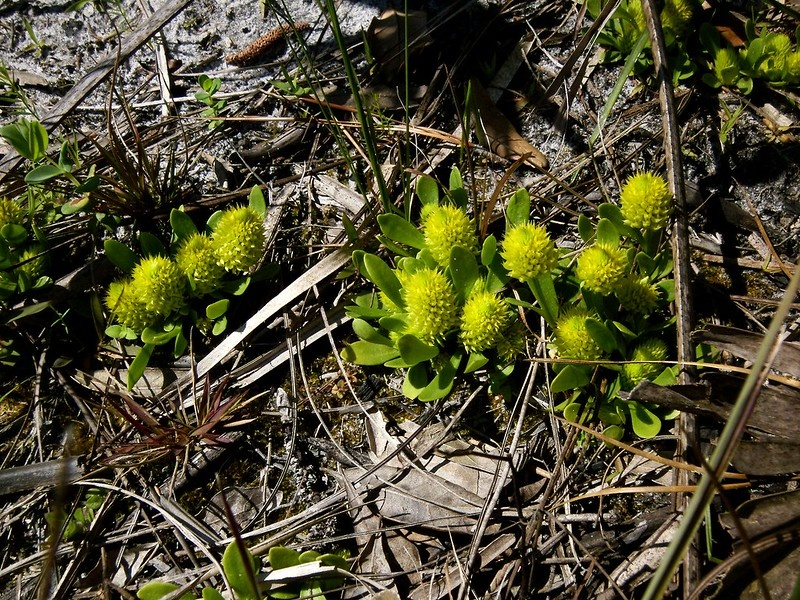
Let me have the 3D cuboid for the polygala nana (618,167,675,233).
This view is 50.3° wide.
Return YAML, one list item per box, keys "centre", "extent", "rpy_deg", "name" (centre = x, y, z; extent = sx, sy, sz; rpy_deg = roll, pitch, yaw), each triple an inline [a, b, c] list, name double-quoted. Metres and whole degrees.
- centre: [0.675, -0.272, 2.363]
  extent: [0.142, 0.157, 0.156]
  rpy_deg: [8, 63, 12]
  name: "polygala nana"

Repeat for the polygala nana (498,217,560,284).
- centre: [0.360, -0.142, 2.339]
  extent: [0.129, 0.151, 0.133]
  rpy_deg: [-23, 13, -3]
  name: "polygala nana"

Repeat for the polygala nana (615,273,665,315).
- centre: [0.664, -0.019, 2.360]
  extent: [0.112, 0.063, 0.116]
  rpy_deg: [35, 96, 5]
  name: "polygala nana"

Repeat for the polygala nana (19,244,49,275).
- centre: [-1.154, -0.132, 2.671]
  extent: [0.046, 0.073, 0.050]
  rpy_deg: [49, 45, 13]
  name: "polygala nana"

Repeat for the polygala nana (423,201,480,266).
- centre: [0.136, -0.203, 2.446]
  extent: [0.124, 0.129, 0.170]
  rpy_deg: [-34, 71, 35]
  name: "polygala nana"

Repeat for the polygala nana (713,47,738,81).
- centre: [1.014, -0.723, 2.635]
  extent: [0.084, 0.053, 0.095]
  rpy_deg: [9, 91, 19]
  name: "polygala nana"

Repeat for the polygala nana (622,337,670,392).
- centre: [0.676, 0.168, 2.342]
  extent: [0.098, 0.191, 0.083]
  rpy_deg: [8, 22, -3]
  name: "polygala nana"

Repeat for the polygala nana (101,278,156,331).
- centre: [-0.814, 0.020, 2.560]
  extent: [0.140, 0.152, 0.150]
  rpy_deg: [-14, 71, 6]
  name: "polygala nana"

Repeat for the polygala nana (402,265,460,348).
- centre: [0.089, 0.014, 2.391]
  extent: [0.171, 0.202, 0.136]
  rpy_deg: [-34, 46, -16]
  name: "polygala nana"

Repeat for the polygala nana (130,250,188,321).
- centre: [-0.728, -0.034, 2.583]
  extent: [0.147, 0.186, 0.146]
  rpy_deg: [-8, 16, -8]
  name: "polygala nana"

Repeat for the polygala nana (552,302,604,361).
- centre: [0.482, 0.100, 2.403]
  extent: [0.131, 0.148, 0.137]
  rpy_deg: [-11, 7, 36]
  name: "polygala nana"

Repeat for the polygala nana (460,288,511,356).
- centre: [0.231, 0.051, 2.420]
  extent: [0.148, 0.159, 0.145]
  rpy_deg: [-20, 33, -20]
  name: "polygala nana"

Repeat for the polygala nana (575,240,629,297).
- centre: [0.565, -0.087, 2.357]
  extent: [0.143, 0.150, 0.138]
  rpy_deg: [-5, 45, 12]
  name: "polygala nana"
